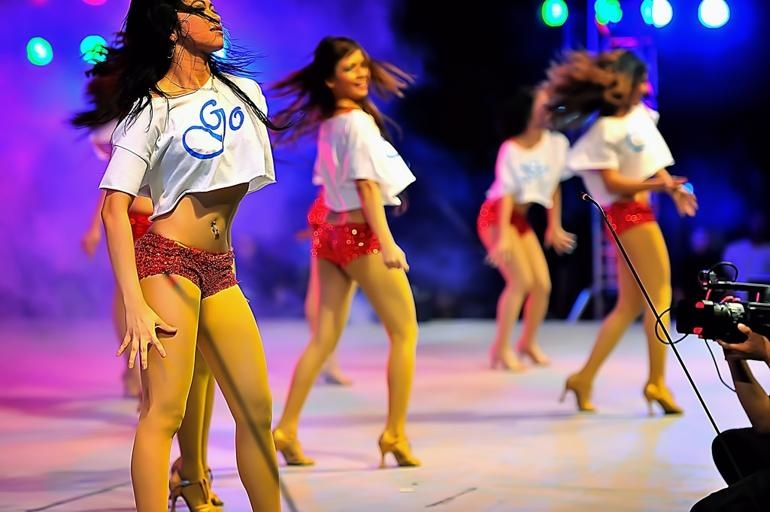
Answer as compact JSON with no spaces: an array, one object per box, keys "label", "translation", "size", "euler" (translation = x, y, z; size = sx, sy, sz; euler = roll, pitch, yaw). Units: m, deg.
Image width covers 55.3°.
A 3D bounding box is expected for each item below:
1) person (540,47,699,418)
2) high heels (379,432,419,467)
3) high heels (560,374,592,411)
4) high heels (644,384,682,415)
[{"label":"person","translation":[1.409,-0.195,4.395],"size":[0.747,2.187,0.821],"euler":[-2,4,-9]},{"label":"high heels","translation":[0.072,0.922,3.570],"size":[0.198,0.164,0.170],"euler":[-1,3,0]},{"label":"high heels","translation":[1.164,0.796,4.407],"size":[0.192,0.206,0.276],"euler":[0,3,16]},{"label":"high heels","translation":[1.613,0.813,4.239],"size":[0.223,0.181,0.162],"euler":[0,4,15]}]
